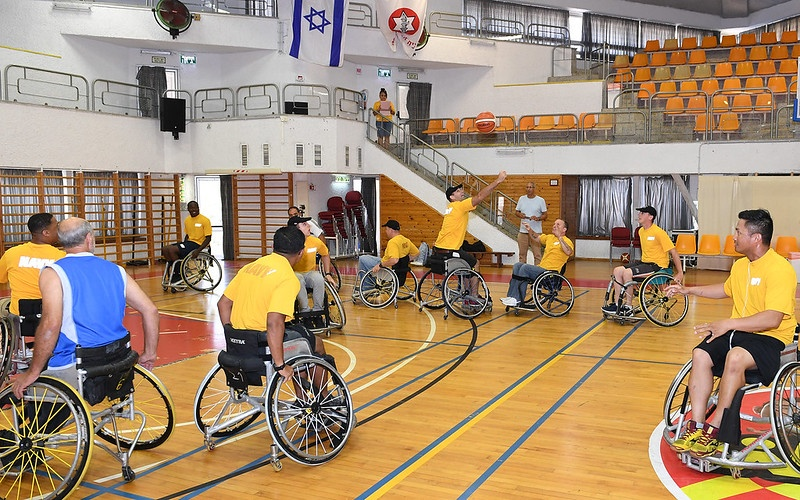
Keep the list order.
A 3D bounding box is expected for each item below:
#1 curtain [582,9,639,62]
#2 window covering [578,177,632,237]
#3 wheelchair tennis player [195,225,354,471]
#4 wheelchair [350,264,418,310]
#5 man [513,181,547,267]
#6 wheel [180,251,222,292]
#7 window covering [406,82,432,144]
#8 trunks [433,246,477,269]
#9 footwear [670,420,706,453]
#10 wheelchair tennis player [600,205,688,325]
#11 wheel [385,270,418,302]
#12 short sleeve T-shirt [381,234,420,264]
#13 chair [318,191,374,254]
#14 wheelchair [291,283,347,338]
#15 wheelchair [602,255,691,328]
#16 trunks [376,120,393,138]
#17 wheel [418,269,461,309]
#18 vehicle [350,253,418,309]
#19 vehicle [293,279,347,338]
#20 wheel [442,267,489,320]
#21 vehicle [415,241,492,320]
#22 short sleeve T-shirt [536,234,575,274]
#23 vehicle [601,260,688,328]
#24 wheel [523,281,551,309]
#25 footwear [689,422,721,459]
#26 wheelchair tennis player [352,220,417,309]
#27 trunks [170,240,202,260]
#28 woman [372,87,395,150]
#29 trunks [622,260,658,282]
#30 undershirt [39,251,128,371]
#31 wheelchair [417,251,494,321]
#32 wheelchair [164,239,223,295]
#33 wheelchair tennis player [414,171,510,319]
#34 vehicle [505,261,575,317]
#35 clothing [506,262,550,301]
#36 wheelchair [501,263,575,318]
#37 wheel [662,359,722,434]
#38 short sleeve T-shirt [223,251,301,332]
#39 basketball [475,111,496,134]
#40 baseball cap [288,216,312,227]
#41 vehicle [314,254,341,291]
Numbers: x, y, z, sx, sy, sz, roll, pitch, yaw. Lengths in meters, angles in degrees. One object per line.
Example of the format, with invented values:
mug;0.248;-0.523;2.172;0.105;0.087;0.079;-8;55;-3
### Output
curtain;7.984;-7.784;22.046;2.283;1.549;0.146;-10;14;-35
window covering;6.255;-1.338;18.110;1.767;2.042;0.325;1;-1;20
wheelchair tennis player;-1.297;0.955;6.396;1.678;2.229;1.392;6;12;27
wheelchair;-0.202;0.505;11.869;1.128;1.407;1.016;1;0;1
man;3.060;-0.478;14.103;0.721;2.186;0.706;1;8;22
wheel;-4.455;0.500;13.414;1.078;1.092;0.633;-1;9;-22
window covering;0.646;-4.759;20.241;0.842;0.259;2.482;-1;-25;0
trunks;0.978;0.151;10.622;0.760;0.410;0.315;-1;12;1
footwear;2.738;1.766;5.723;0.142;0.202;0.426;3;7;43
wheelchair tennis player;4.218;0.207;10.297;1.356;1.897;0.908;-6;15;23
wheel;0.080;0.732;12.779;0.623;0.766;0.531;1;6;9
short sleeve T-shirt;-0.005;-0.113;11.050;0.445;0.557;0.737;27;28;38
chair;-1.616;-0.709;18.066;1.342;1.739;1.244;-4;9;-6
wheelchair;-1.244;1.037;9.566;0.516;0.809;0.918;-2;2;-23
wheelchair;4.256;0.576;10.386;1.246;1.459;0.896;4;-4;16
trunks;-0.519;-3.659;18.228;0.446;0.587;0.597;5;5;31
wheel;0.691;0.749;12.164;0.696;0.673;0.550;-10;-6;11
vehicle;-0.237;0.440;11.844;1.183;1.345;1.071;1;5;-12
vehicle;-1.245;1.058;9.543;0.525;0.821;0.925;0;23;-6
wheel;1.189;0.741;10.668;0.850;0.965;0.714;1;13;7
vehicle;1.155;0.562;10.914;1.073;1.432;0.945;-10;-10;27
short sleeve T-shirt;2.718;0.045;10.561;0.508;0.677;0.847;2;13;14
vehicle;4.206;0.644;10.354;1.231;1.391;0.951;5;-4;-7
wheel;2.417;0.778;10.567;0.413;0.649;0.618;-1;12;-2
footwear;2.909;1.793;5.685;0.510;0.220;0.173;-6;15;-43
wheelchair tennis player;-0.304;0.276;11.472;1.123;1.565;0.985;9;11;41
trunks;-4.539;-0.060;12.766;0.518;0.493;0.348;-24;24;-31
woman;-0.471;-3.990;18.340;0.619;1.784;0.513;-2;18;-5
trunks;4.007;0.332;9.945;0.443;0.139;0.289;-10;6;6
undershirt;-2.992;0.604;5.785;0.556;1.059;0.798;6;12;38
wheelchair;0.981;0.501;10.912;1.172;1.400;1.040;27;-13;-31
wheelchair;-4.536;0.411;13.146;0.795;1.017;1.324;-14;-5;25
wheelchair tennis player;1.152;-0.204;10.947;1.228;2.729;1.825;-6;11;-18
vehicle;2.501;0.587;10.768;1.406;1.248;1.163;2;-4;-28
clothing;2.222;0.523;10.600;0.867;0.731;0.508;-1;3;-3
wheelchair;2.561;0.593;10.778;1.131;1.305;0.895;-2;1;18
wheel;2.947;1.496;6.038;0.507;0.798;0.810;8;3;23
short sleeve T-shirt;-1.409;0.431;6.110;0.784;0.787;0.426;13;-3;28
basketball;2.435;-3.626;17.108;0.593;0.589;0.582;-1;6;2
baseball cap;-1.530;-0.453;9.208;0.338;0.126;0.215;-14;8;-11
vehicle;-1.305;0.425;10.744;0.554;0.593;0.395;16;37;-4
